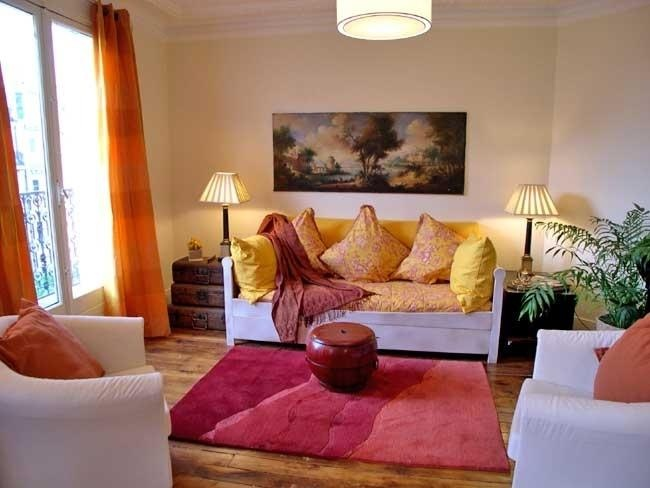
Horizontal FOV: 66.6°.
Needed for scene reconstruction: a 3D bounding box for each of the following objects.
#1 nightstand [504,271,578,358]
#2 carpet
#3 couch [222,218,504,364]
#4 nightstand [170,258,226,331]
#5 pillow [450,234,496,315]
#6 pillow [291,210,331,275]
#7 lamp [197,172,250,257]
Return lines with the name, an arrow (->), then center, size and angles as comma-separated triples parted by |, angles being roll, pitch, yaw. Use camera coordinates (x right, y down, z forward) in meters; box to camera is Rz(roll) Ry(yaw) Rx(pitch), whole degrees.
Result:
nightstand -> 1.787, 0.661, 4.199 | 0.500, 0.592, 0.954 | 1, 7, 16
carpet -> 0.098, 1.144, 3.440 | 2.131, 0.220, 0.959 | 1, 7, 8
couch -> 0.612, 0.448, 4.154 | 1.705, 0.703, 0.570 | 7, 17, -22
nightstand -> -1.233, 0.461, 4.741 | 0.590, 0.515, 0.612 | 0, 1, -7
pillow -> 1.245, 0.268, 4.302 | 0.340, 0.562, 0.682 | 1, -4, 5
pillow -> -0.128, -0.025, 4.693 | 0.152, 0.521, 0.444 | -22, -21, 19
lamp -> -0.986, -0.256, 4.911 | 0.404, 0.855, 0.396 | 3, 11, -5
